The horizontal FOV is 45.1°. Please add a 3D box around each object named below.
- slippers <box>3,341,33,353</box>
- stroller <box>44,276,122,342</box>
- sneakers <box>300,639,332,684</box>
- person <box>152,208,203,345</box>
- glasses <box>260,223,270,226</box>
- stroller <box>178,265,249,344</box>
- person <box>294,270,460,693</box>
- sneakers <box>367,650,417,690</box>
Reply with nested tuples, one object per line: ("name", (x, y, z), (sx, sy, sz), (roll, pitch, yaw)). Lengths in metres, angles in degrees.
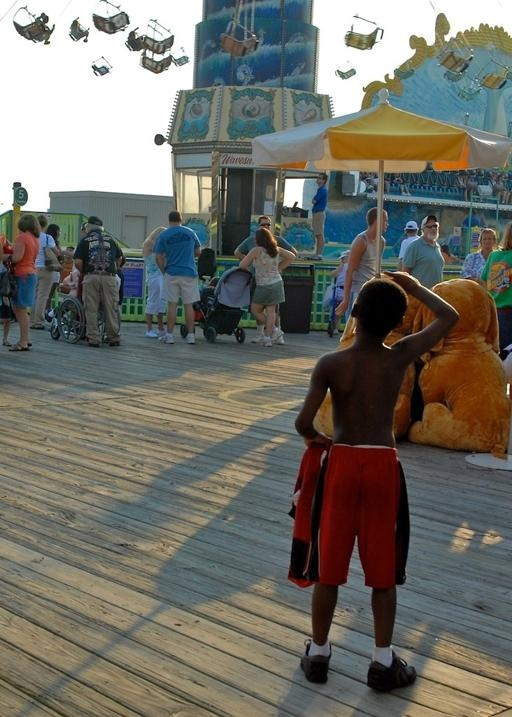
("slippers", (-4.186, -0.175, 10.767), (0.423, 0.141, 0.219), (3, -1, -21))
("stroller", (-3.419, -0.886, 12.236), (0.794, 0.961, 0.892), (-3, -7, -42))
("sneakers", (0.186, 0.900, 1.805), (0.055, 0.049, 0.129), (1, 1, 1))
("person", (-1.587, -1.570, 12.150), (0.892, 2.588, 0.747), (2, 4, -10))
("glasses", (0.170, -2.795, 12.859), (0.173, 0.048, 0.157), (-2, 7, -15))
("stroller", (-0.738, -1.118, 12.732), (0.993, 1.387, 1.436), (4, 1, -35))
("person", (0.341, 0.361, 1.858), (0.470, 1.203, 0.336), (3, 4, 0))
("sneakers", (0.406, 0.912, 1.826), (0.171, 0.078, 0.065), (1, 0, -43))
